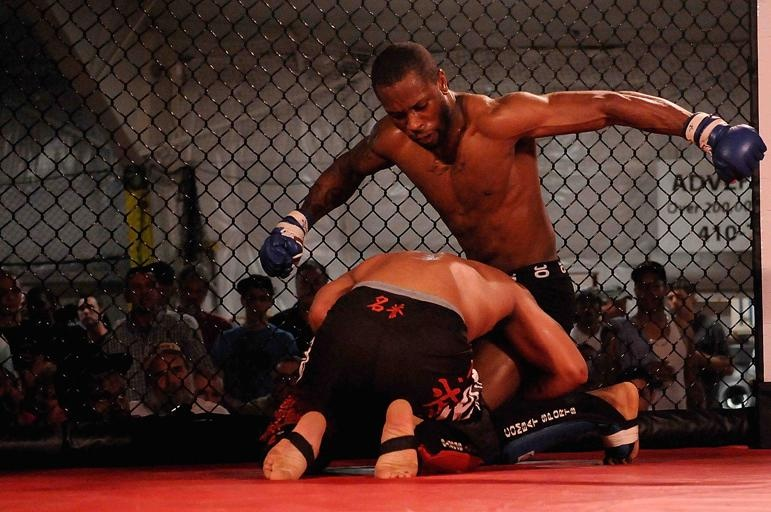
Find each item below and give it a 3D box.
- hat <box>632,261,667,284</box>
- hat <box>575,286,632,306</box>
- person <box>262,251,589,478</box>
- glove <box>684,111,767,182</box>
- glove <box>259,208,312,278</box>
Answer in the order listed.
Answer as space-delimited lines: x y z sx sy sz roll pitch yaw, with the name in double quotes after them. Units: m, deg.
1.941 0.095 6.622 0.196 0.168 0.185 0 -15 5 "hat"
1.962 0.329 8.031 0.472 0.140 0.308 -7 -7 27 "hat"
0.130 0.549 4.999 1.516 0.873 2.020 13 17 36 "person"
1.790 -0.584 4.752 0.381 0.374 0.148 1 -9 -7 "glove"
-0.589 -0.005 5.244 0.232 0.152 0.381 10 9 7 "glove"
